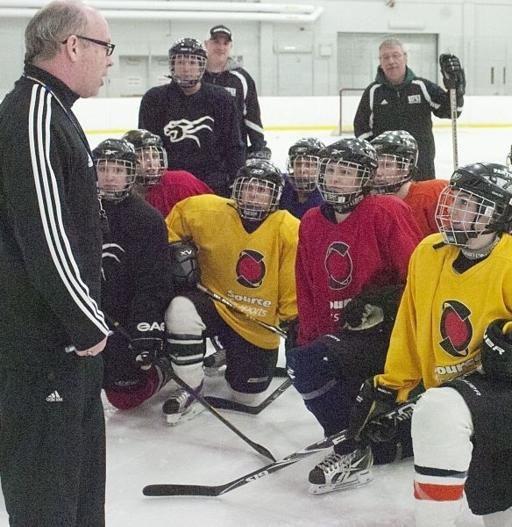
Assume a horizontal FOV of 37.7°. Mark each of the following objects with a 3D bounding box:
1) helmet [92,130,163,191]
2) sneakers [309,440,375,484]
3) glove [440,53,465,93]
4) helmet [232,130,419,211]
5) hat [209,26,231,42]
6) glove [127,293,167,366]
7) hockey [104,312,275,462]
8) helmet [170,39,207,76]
[{"bbox_3d":[-0.534,-0.451,3.193,0.207,0.209,0.231,-3,-4,-2],"label":"helmet"},{"bbox_3d":[0.260,0.615,2.320,0.245,0.126,0.080,1,-3,-21],"label":"sneakers"},{"bbox_3d":[1.108,-1.094,4.272,0.135,0.224,0.217,2,11,13],"label":"glove"},{"bbox_3d":[0.294,-0.383,3.239,0.693,0.244,0.382,-10,12,-1],"label":"helmet"},{"bbox_3d":[-0.206,-1.357,4.343,0.123,0.089,0.159,2,2,-12],"label":"hat"},{"bbox_3d":[-0.401,0.237,2.702,0.195,0.238,0.090,1,-1,-3],"label":"glove"},{"bbox_3d":[-0.255,0.454,2.778,0.078,0.715,0.108,-51,-7,-12],"label":"hockey"},{"bbox_3d":[-0.320,-0.982,3.541,0.155,0.145,0.172,1,-13,-6],"label":"helmet"}]
